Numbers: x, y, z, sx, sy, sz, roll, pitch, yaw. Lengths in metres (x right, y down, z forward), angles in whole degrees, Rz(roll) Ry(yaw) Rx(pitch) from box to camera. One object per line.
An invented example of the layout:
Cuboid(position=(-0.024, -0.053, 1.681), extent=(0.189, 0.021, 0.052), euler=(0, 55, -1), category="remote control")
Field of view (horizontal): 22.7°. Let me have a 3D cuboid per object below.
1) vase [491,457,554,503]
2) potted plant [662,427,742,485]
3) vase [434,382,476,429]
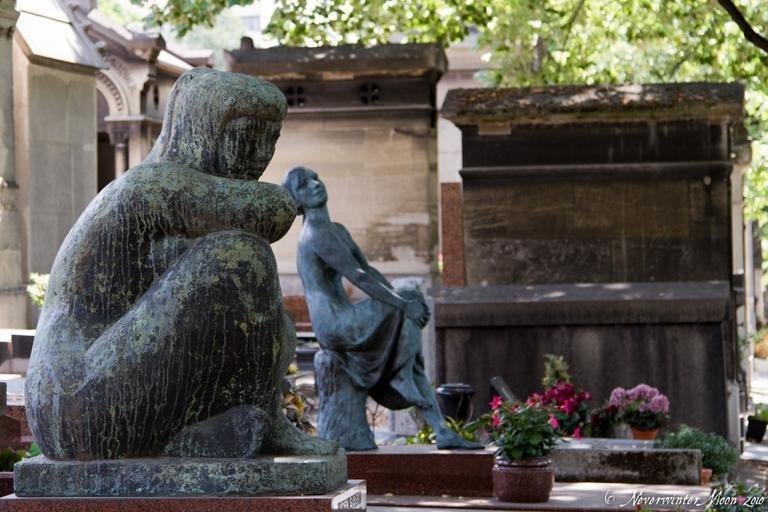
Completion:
Cuboid(position=(1.932, 3.241, 27.734), extent=(0.775, 0.472, 0.727), euler=(5, -9, -28), category="vase")
Cuboid(position=(4.824, 3.067, 29.960), extent=(1.483, 0.857, 0.576), euler=(4, -9, -42), category="potted plant")
Cuboid(position=(1.061, 2.295, 29.644), extent=(0.653, 0.636, 0.666), euler=(0, 0, 36), category="vase")
